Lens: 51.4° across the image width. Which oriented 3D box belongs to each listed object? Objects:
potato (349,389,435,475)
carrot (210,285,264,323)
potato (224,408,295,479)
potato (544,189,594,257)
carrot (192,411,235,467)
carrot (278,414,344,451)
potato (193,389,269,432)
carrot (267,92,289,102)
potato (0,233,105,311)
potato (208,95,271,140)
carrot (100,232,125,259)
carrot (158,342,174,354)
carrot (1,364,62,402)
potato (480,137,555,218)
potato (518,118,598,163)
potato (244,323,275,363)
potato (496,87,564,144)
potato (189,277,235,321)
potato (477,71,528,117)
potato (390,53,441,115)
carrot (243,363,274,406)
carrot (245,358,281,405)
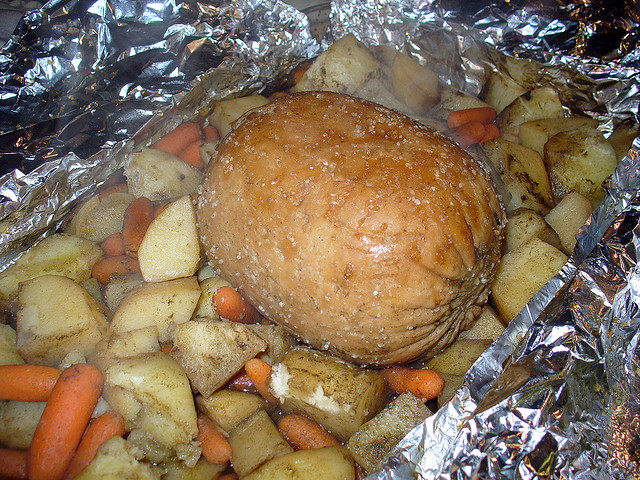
[{"bbox_3d":[0.357,1.039,3.638,0.434,0.120,0.315,-41,66,-11],"label":"potato"},{"bbox_3d":[-0.502,0.382,4.022,0.346,0.137,0.163,38,91,-3],"label":"carrot"},{"bbox_3d":[-0.345,1.118,3.673,0.306,0.089,0.326,-38,64,-7],"label":"potato"},{"bbox_3d":[1.526,-0.109,4.101,0.091,0.352,0.377,6,75,-35],"label":"potato"},{"bbox_3d":[-0.602,1.136,3.710,0.155,0.355,0.132,-18,112,-24],"label":"carrot"},{"bbox_3d":[-0.055,1.069,3.741,0.336,0.135,0.164,25,24,16],"label":"carrot"},{"bbox_3d":[-0.525,0.935,3.764,0.272,0.112,0.244,33,47,11],"label":"potato"},{"bbox_3d":[-0.307,-1.040,4.825,0.124,0.108,0.079,-17,93,-17],"label":"carrot"},{"bbox_3d":[-1.642,0.135,4.068,0.298,0.327,0.611,30,45,35],"label":"potato"},{"bbox_3d":[-0.584,-0.909,4.625,0.230,0.354,0.317,62,39,-23],"label":"potato"},{"bbox_3d":[-1.317,0.041,4.245,0.136,0.087,0.169,25,84,-7],"label":"carrot"},{"bbox_3d":[-0.904,0.631,3.919,0.062,0.022,0.073,2,86,-18],"label":"carrot"},{"bbox_3d":[-1.586,0.774,3.638,0.338,0.137,0.169,5,87,-10],"label":"carrot"},{"bbox_3d":[1.247,-0.374,4.381,0.490,0.135,0.369,47,69,-2],"label":"potato"},{"bbox_3d":[1.523,-0.735,4.320,0.327,0.140,0.378,-20,79,-14],"label":"potato"},{"bbox_3d":[-0.321,0.567,3.908,0.057,0.192,0.194,-38,92,13],"label":"potato"},{"bbox_3d":[1.413,-0.837,4.490,0.391,0.233,0.341,-11,95,24],"label":"potato"},{"bbox_3d":[-0.666,0.358,4.015,0.186,0.131,0.268,11,87,15],"label":"potato"},{"bbox_3d":[1.244,-1.012,4.634,0.287,0.287,0.227,-3,61,-48],"label":"potato"},{"bbox_3d":[0.663,-1.072,4.696,0.354,0.295,0.234,39,73,15],"label":"potato"},{"bbox_3d":[-0.342,0.790,3.801,0.117,0.109,0.259,-33,81,-38],"label":"carrot"},{"bbox_3d":[-0.363,0.798,3.883,0.122,0.271,0.117,16,82,-29],"label":"carrot"}]
